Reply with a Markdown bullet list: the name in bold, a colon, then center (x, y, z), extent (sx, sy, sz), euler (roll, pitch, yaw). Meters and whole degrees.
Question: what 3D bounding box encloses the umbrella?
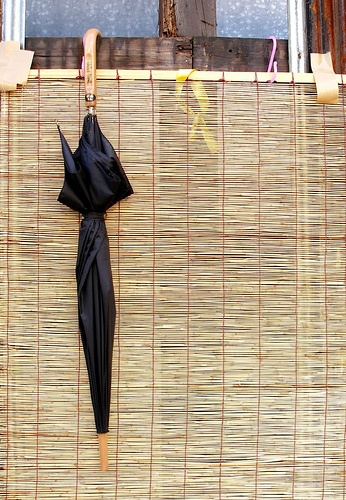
- **umbrella**: center (-0.230, -0.063, 2.930), extent (0.179, 1.182, 0.140), euler (2, 3, 33)
